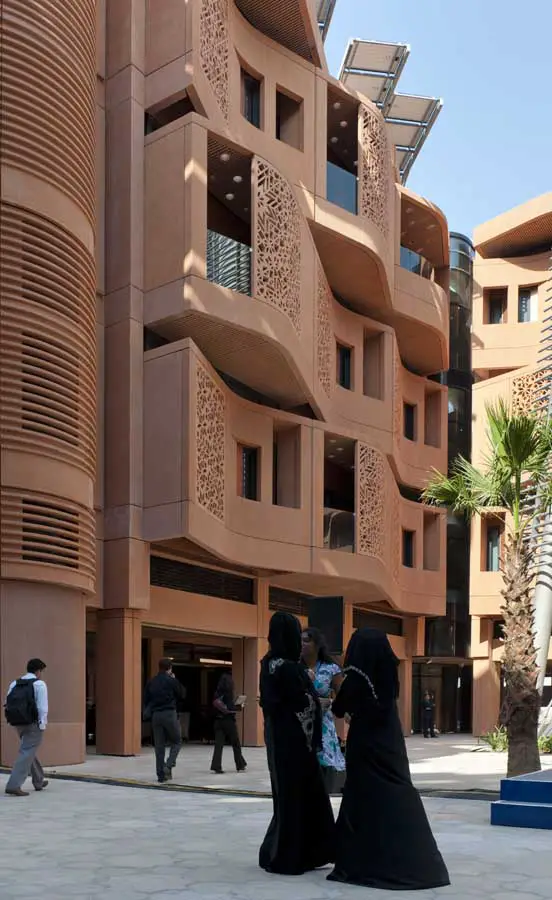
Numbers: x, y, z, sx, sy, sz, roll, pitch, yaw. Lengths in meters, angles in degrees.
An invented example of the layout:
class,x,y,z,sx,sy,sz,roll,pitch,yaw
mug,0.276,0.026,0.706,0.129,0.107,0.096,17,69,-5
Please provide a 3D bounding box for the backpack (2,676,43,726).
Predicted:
class,x,y,z,sx,sy,sz,roll,pitch,yaw
backpack,-2.504,2.492,13.076,0.375,0.479,0.243,-7,-14,21

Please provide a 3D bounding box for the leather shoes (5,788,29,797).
class,x,y,z,sx,sy,sz,roll,pitch,yaw
leather shoes,-2.597,3.443,13.272,0.221,0.135,0.097,4,-12,-11

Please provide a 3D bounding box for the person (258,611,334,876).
class,x,y,z,sx,sy,sz,roll,pitch,yaw
person,0.126,2.043,9.255,0.522,1.773,0.465,-1,-12,-2

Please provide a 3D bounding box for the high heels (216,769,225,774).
class,x,y,z,sx,sy,sz,roll,pitch,yaw
high heels,-0.710,4.115,16.906,0.113,0.067,0.041,-10,-10,34

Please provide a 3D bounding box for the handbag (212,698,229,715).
class,x,y,z,sx,sy,sz,roll,pitch,yaw
handbag,-0.715,3.340,17.205,0.192,0.059,0.143,51,6,-18

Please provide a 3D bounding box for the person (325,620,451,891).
class,x,y,z,sx,sy,sz,roll,pitch,yaw
person,0.693,2.039,8.776,0.725,1.680,0.430,-2,-12,2
